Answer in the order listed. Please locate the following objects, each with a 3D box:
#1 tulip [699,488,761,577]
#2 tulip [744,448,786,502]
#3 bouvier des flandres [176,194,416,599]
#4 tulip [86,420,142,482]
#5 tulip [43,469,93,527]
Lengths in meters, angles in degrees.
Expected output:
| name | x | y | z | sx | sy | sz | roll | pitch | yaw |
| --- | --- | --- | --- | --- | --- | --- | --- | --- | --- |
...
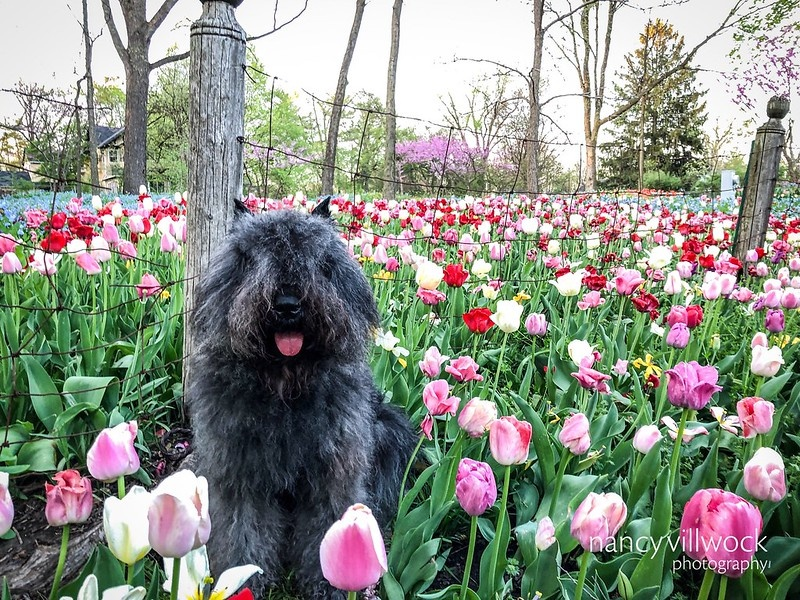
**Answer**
| name | x | y | z | sx | sy | sz | roll | pitch | yaw |
| --- | --- | --- | --- | --- | --- | --- | --- | --- | --- |
| tulip | 1.262 | 0.886 | 2.296 | 0.252 | 0.341 | 0.112 | -1 | 8 | -29 |
| tulip | 1.538 | 0.744 | 2.577 | 0.153 | 0.265 | 0.111 | 1 | 7 | -9 |
| bouvier des flandres | -0.610 | 0.573 | 3.341 | 1.017 | 2.016 | 0.560 | 0 | 7 | -18 |
| tulip | -1.192 | 0.645 | 2.542 | 0.189 | 0.246 | 0.099 | -1 | 8 | -30 |
| tulip | -1.391 | 0.823 | 2.570 | 0.177 | 0.259 | 0.148 | 0 | 7 | -21 |
